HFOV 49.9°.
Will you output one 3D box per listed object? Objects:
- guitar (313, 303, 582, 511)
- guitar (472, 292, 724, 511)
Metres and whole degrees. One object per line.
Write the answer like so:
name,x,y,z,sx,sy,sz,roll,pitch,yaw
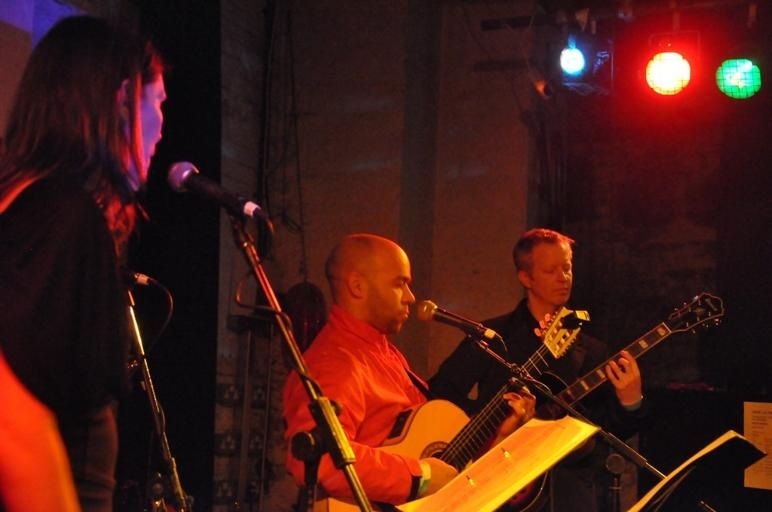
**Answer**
guitar,0.340,0.859,4.327,0.665,1.723,0.199,46,-23,-2
guitar,1.178,0.793,4.418,1.539,0.573,0.206,-43,-33,15
